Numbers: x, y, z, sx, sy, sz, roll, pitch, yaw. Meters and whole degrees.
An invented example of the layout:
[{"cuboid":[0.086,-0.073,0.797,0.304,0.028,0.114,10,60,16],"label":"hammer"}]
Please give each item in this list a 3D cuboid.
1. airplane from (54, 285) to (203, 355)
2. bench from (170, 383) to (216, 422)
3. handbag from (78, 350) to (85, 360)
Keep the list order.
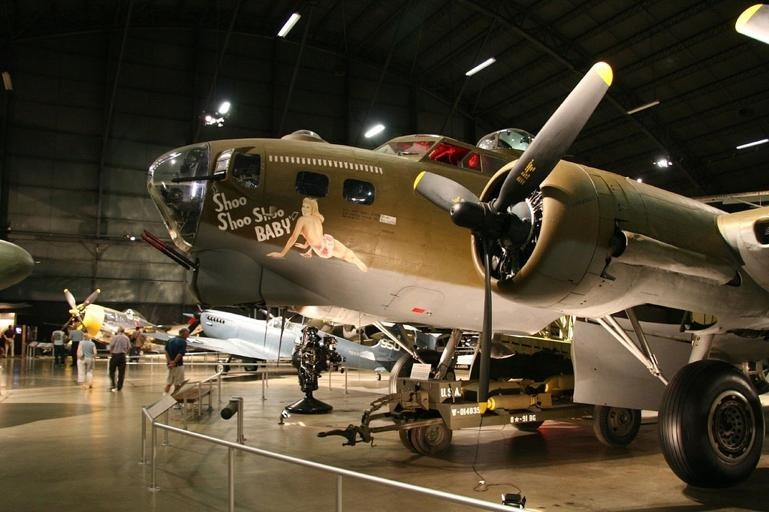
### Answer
[{"cuboid":[-15.446,3.748,37.067,6.039,1.888,5.468,12,-11,37],"label":"airplane"},{"cuboid":[-5.839,4.407,19.360,0.632,0.713,1.864,2,-4,2],"label":"bench"},{"cuboid":[-11.331,3.635,24.028,0.315,0.313,0.167,-3,-9,35],"label":"handbag"}]
